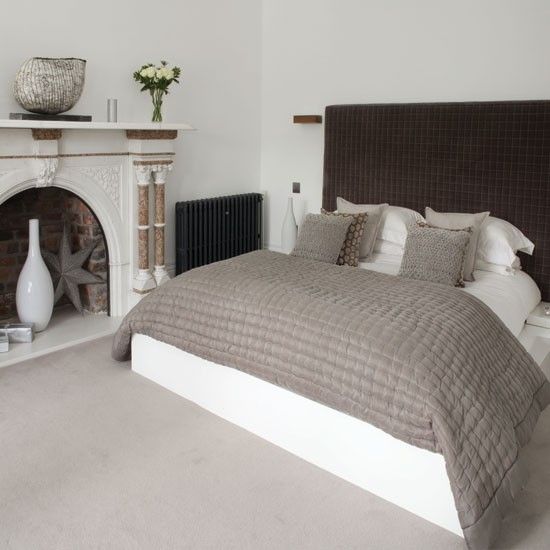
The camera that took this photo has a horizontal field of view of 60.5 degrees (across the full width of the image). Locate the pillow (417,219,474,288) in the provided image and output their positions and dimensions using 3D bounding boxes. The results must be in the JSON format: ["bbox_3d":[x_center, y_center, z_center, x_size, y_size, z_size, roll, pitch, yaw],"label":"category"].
[{"bbox_3d":[1.040,-0.120,2.978,0.167,0.409,0.397,18,6,-24],"label":"pillow"}]

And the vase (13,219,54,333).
[{"bbox_3d":[-1.636,0.014,3.190,0.233,0.782,0.238,-7,16,-30],"label":"vase"}]

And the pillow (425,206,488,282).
[{"bbox_3d":[1.170,-0.188,3.056,0.180,0.494,0.420,13,-2,-28],"label":"pillow"}]

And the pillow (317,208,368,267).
[{"bbox_3d":[0.520,-0.273,3.394,0.334,0.350,0.109,6,-9,36],"label":"pillow"}]

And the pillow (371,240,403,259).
[{"bbox_3d":[0.864,-0.193,3.606,0.166,0.132,0.046,19,8,28],"label":"pillow"}]

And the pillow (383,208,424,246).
[{"bbox_3d":[0.946,-0.456,3.643,0.283,0.095,0.317,16,52,30],"label":"pillow"}]

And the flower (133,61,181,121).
[{"bbox_3d":[-0.908,-1.417,3.617,0.319,0.389,0.363,1,27,-14],"label":"flower"}]

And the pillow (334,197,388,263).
[{"bbox_3d":[0.679,-0.330,3.606,0.135,0.439,0.435,10,8,-25],"label":"pillow"}]

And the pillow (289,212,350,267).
[{"bbox_3d":[0.317,-0.275,3.384,0.349,0.299,0.345,10,16,30],"label":"pillow"}]
